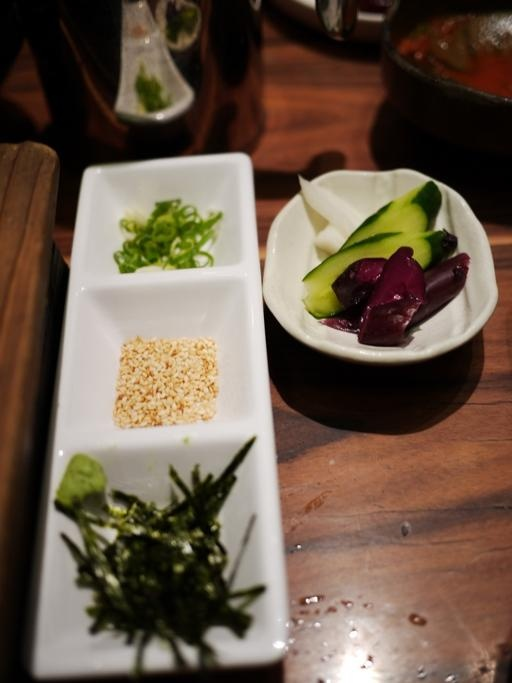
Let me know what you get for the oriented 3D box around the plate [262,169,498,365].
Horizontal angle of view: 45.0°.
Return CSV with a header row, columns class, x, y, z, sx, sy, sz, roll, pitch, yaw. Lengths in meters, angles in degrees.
class,x,y,z,sx,sy,sz,roll,pitch,yaw
plate,0.185,-0.119,0.962,0.335,0.108,0.394,3,56,3
